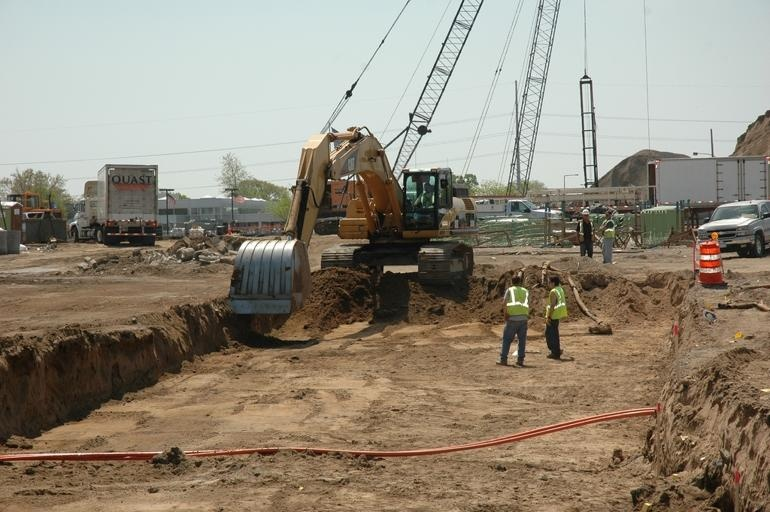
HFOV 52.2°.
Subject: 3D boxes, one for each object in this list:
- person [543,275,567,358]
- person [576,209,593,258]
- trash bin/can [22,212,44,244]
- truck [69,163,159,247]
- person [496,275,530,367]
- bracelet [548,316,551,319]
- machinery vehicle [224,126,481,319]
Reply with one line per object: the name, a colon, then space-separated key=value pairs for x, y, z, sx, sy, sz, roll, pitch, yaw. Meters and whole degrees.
person: x=3.429 y=1.248 z=15.780 sx=0.383 sy=1.602 sz=0.736 roll=2 pitch=9 yaw=13
person: x=6.646 y=-0.736 z=26.083 sx=0.528 sy=1.633 sz=1.513 roll=2 pitch=9 yaw=14
trash bin/can: x=-21.702 y=-1.565 z=48.242 sx=1.103 sy=1.428 sz=0.776 roll=-4 pitch=9 yaw=-21
truck: x=-13.097 y=-2.372 z=38.819 sx=3.905 sy=4.558 sz=9.171 roll=-1 pitch=4 yaw=-36
person: x=2.514 y=1.247 z=15.423 sx=0.585 sy=1.682 sz=0.916 roll=1 pitch=9 yaw=8
bracelet: x=3.275 y=1.226 z=15.616 sx=0.069 sy=0.087 sz=0.227 roll=1 pitch=-1 yaw=15
machinery vehicle: x=-0.756 y=-1.193 z=20.152 sx=4.212 sy=4.079 sz=8.095 roll=1 pitch=8 yaw=30
